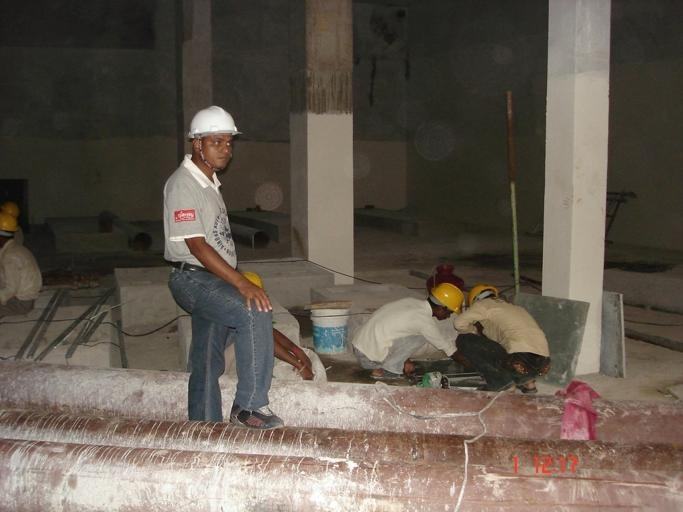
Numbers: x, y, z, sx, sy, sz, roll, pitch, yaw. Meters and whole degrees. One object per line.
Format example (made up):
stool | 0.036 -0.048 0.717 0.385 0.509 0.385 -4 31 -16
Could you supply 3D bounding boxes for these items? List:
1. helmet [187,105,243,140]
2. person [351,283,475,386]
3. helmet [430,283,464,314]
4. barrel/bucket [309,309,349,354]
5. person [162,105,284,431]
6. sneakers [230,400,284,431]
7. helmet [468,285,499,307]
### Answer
helmet | -0.989 -1.018 6.091 0.456 0.242 0.377 -6 1 43
person | 0.692 0.735 8.194 1.081 1.040 0.797 3 17 -6
helmet | 1.058 0.396 7.855 0.298 0.163 0.248 20 20 -14
barrel/bucket | -0.123 0.798 8.829 0.429 0.507 0.454 -1 6 0
person | -0.887 0.100 5.845 0.643 2.286 1.082 -8 16 -29
sneakers | -0.613 1.136 5.745 0.375 0.180 0.163 1 1 14
helmet | 1.440 0.359 7.996 0.246 0.240 0.199 -19 -2 -12
